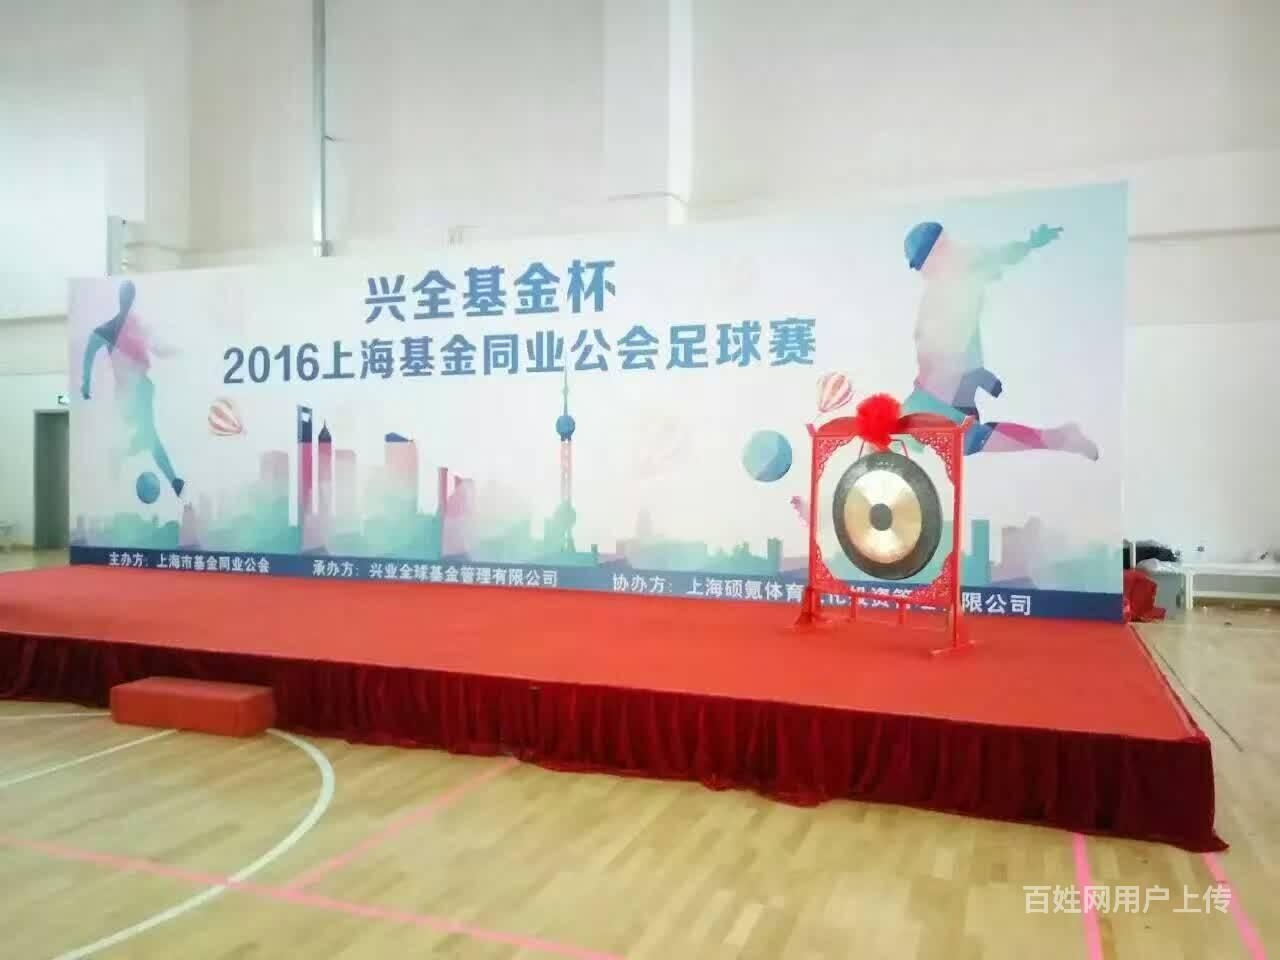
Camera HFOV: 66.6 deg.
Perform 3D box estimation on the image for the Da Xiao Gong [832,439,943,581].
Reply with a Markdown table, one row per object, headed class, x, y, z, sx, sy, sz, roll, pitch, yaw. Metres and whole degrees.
| class | x | y | z | sx | sy | sz | roll | pitch | yaw |
| --- | --- | --- | --- | --- | --- | --- | --- | --- | --- |
| Da Xiao Gong | 1.256 | 0.189 | 5.001 | 0.563 | 0.666 | 0.135 | 8 | 12 | 43 |
